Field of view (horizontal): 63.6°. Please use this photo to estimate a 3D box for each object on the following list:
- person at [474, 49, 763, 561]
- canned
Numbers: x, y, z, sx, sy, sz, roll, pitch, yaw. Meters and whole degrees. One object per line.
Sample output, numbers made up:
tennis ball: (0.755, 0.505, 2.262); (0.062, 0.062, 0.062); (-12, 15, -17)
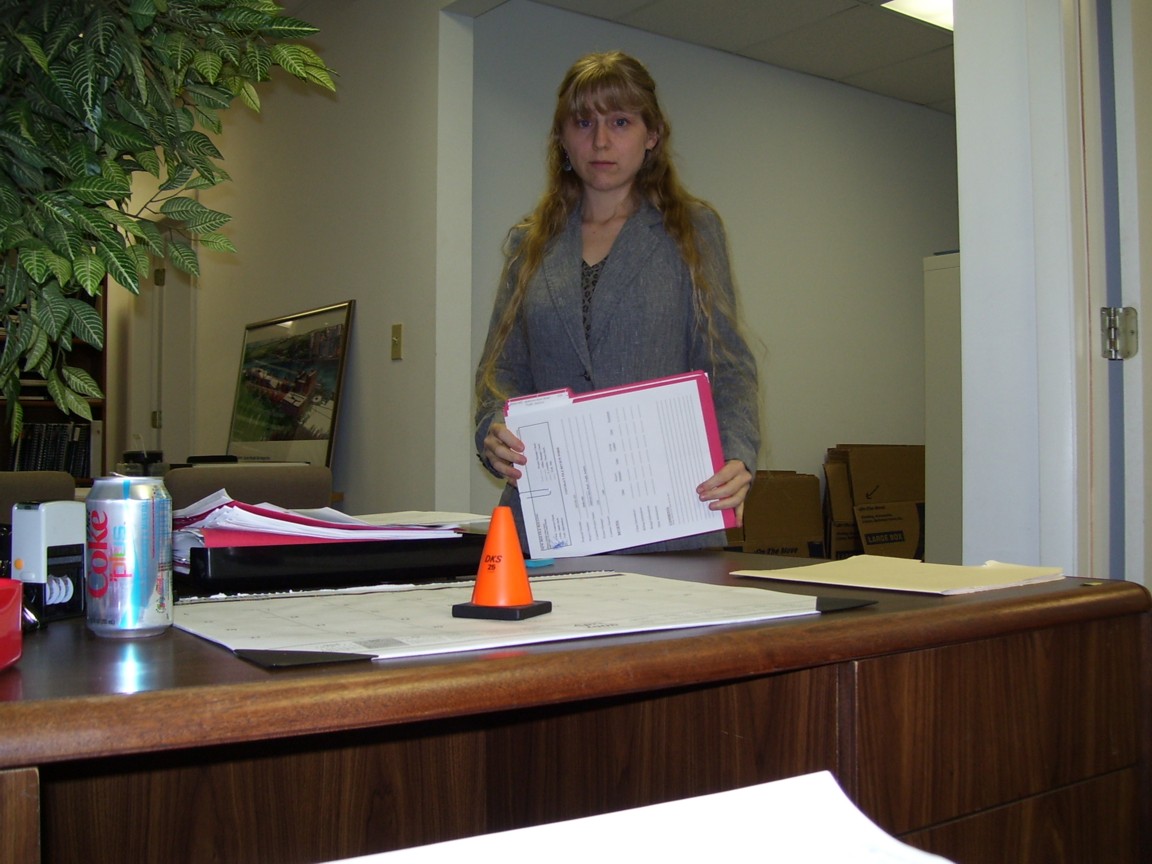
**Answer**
person: (0.044, -0.285, 1.688); (0.543, 0.816, 0.502); (-3, -1, 12)
canned: (-0.414, 0.113, 0.846); (0.073, 0.102, 0.046); (-2, -1, -22)
